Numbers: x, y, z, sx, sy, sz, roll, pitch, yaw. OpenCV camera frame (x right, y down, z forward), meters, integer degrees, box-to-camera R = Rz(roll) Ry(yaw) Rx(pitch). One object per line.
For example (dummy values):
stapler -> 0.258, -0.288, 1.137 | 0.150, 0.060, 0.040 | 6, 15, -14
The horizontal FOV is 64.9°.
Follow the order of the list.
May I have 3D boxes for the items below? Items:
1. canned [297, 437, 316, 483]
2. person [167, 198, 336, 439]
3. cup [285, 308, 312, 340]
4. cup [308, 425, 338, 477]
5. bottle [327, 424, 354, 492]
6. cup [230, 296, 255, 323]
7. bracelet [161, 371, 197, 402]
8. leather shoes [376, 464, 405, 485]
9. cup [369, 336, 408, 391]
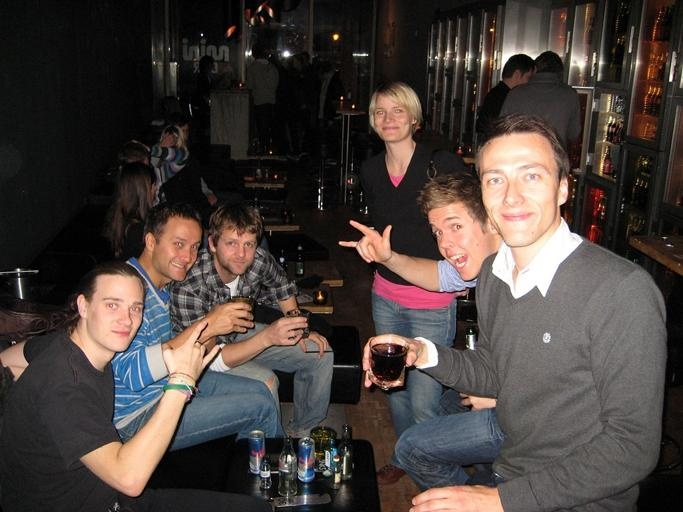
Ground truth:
canned -> -0.173, 0.984, 2.687 | 0.087, 0.224, 0.165 | 0, 13, -3
person -> -0.589, 0.508, 3.647 | 1.004, 1.649, 0.995 | 15, 28, 31
cup -> -0.261, 0.421, 3.338 | 0.142, 0.181, 0.071 | -3, 16, 7
cup -> -0.094, 0.982, 2.769 | 0.171, 0.256, 0.160 | 0, 23, 0
bottle -> -0.002, 0.975, 2.710 | 0.130, 0.254, 0.269 | 1, 13, 0
cup -> -0.553, 0.294, 2.965 | 0.132, 0.135, 0.130 | 1, 18, 0
bracelet -> -0.667, 0.544, 2.233 | 0.133, 0.049, 0.103 | 4, -27, 3
leather shoes -> 0.295, 1.342, 3.317 | 0.195, 0.077, 0.079 | -3, 37, -7
cup -> 0.195, 0.462, 2.369 | 0.192, 0.195, 0.188 | 1, 18, 0
